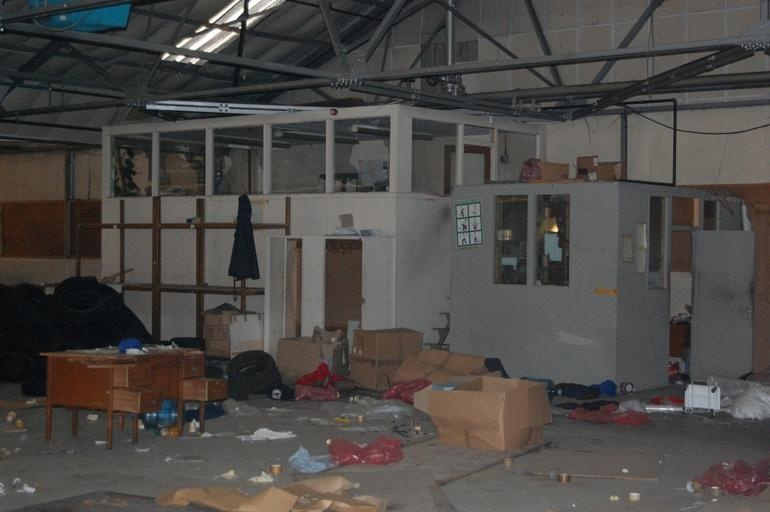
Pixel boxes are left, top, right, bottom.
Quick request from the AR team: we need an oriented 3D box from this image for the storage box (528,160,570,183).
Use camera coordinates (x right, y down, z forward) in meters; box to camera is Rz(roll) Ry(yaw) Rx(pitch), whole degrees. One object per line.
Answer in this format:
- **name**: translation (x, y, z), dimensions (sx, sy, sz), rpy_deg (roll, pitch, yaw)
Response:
- **storage box**: translation (2.821, -1.449, 16.947), dimensions (0.681, 0.451, 0.708), rpy_deg (0, -1, 0)

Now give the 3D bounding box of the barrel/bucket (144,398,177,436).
- **barrel/bucket**: translation (-3.184, 2.255, 14.039), dimensions (0.459, 0.456, 0.449), rpy_deg (1, 1, 0)

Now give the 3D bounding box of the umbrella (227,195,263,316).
- **umbrella**: translation (-2.585, -0.229, 18.072), dimensions (0.551, 1.870, 0.761), rpy_deg (0, -1, -7)

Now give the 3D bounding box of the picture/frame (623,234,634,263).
- **picture/frame**: translation (3.947, -0.131, 16.150), dimensions (0.051, 0.452, 0.272), rpy_deg (-2, -2, 43)

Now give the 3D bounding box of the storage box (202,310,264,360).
- **storage box**: translation (-2.707, 1.403, 17.827), dimensions (0.596, 0.829, 1.355), rpy_deg (1, -2, -39)

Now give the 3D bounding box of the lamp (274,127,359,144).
- **lamp**: translation (-1.524, -2.224, 18.265), dimensions (2.002, 0.358, 0.216), rpy_deg (6, 5, 22)

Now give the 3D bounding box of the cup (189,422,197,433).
- **cup**: translation (-2.706, 2.394, 13.953), dimensions (0.119, 0.160, 0.116), rpy_deg (2, 7, 0)

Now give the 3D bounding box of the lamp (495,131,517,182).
- **lamp**: translation (2.256, -1.927, 18.898), dimensions (0.246, 0.953, 0.669), rpy_deg (-1, -2, 33)

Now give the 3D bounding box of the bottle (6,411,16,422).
- **bottle**: translation (-5.391, 2.280, 14.245), dimensions (0.121, 0.144, 0.046), rpy_deg (-29, -38, 30)

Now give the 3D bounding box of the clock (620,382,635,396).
- **clock**: translation (3.894, 2.122, 16.069), dimensions (0.176, 0.208, 0.070), rpy_deg (0, 12, -2)

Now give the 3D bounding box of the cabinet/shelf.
- **cabinet/shelf**: translation (-3.543, 1.683, 13.676), dimensions (1.549, 0.992, 1.846), rpy_deg (-1, -2, 29)

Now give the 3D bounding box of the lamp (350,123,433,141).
- **lamp**: translation (0.045, -2.214, 17.626), dimensions (1.332, 0.302, 0.459), rpy_deg (0, -1, -5)
